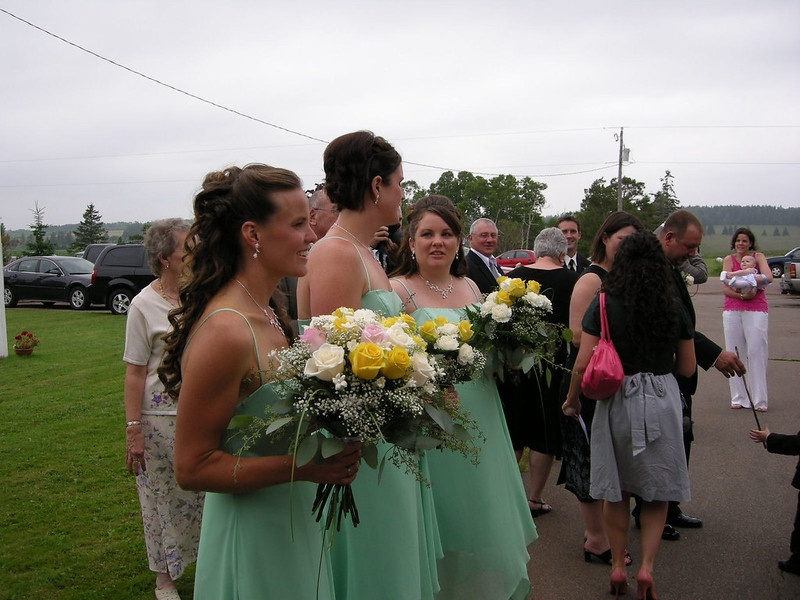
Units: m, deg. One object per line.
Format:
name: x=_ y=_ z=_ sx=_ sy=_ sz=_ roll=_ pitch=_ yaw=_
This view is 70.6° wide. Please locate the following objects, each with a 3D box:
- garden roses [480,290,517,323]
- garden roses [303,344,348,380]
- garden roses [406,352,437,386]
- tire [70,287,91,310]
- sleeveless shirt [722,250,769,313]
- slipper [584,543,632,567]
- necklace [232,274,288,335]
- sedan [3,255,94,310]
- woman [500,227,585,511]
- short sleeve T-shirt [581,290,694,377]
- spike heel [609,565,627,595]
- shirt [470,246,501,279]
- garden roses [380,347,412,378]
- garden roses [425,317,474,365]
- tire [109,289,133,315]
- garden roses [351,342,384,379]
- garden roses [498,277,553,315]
garden roses: x=0.655 y=0.045 z=3.812 sx=0.197 sy=0.213 sz=0.118 roll=3 pitch=-22 yaw=30
garden roses: x=-0.322 y=0.274 z=2.428 sx=0.166 sy=0.149 sz=0.109 roll=0 pitch=8 yaw=-5
garden roses: x=0.105 y=0.320 z=2.569 sx=0.103 sy=0.138 sz=0.145 roll=1 pitch=8 yaw=1
tire: x=-11.050 y=-0.091 z=19.580 sx=0.631 sy=0.694 sz=0.239 roll=-10 pitch=-6 yaw=21
sleeveless shirt: x=5.200 y=-0.263 z=8.553 sx=0.624 sy=0.928 sz=0.510 roll=0 pitch=-1 yaw=8
slipper: x=1.715 y=2.137 z=4.698 sx=0.374 sy=0.152 sz=0.169 roll=-3 pitch=2 yaw=18
necklace: x=-0.633 y=0.051 z=2.647 sx=0.026 sy=0.357 sz=0.105 roll=-27 pitch=21 yaw=24
sedan: x=-12.401 y=-0.682 z=20.695 sx=3.928 sy=1.541 sz=1.862 roll=-3 pitch=-1 yaw=19
woman: x=1.387 y=0.817 z=5.463 sx=0.878 sy=2.976 sz=0.921 roll=0 pitch=20 yaw=7
short sleeve T-shirt: x=1.822 y=0.227 z=4.313 sx=0.817 sy=0.707 sz=0.386 roll=-2 pitch=5 yaw=-2
spike heel: x=1.633 y=2.121 z=4.241 sx=0.086 sy=0.141 sz=0.267 roll=-2 pitch=8 yaw=13
shirt: x=1.032 y=-0.447 z=6.876 sx=0.288 sy=0.360 sz=0.505 roll=-7 pitch=-1 yaw=7
garden roses: x=-0.016 y=0.285 z=2.475 sx=0.144 sy=0.145 sz=0.080 roll=-7 pitch=11 yaw=-43
garden roses: x=0.259 y=0.269 z=3.143 sx=0.251 sy=0.263 sz=0.186 roll=8 pitch=-45 yaw=-35
tire: x=-8.239 y=0.046 z=16.719 sx=0.554 sy=0.580 sz=0.187 roll=32 pitch=-4 yaw=9
garden roses: x=-0.135 y=0.259 z=2.483 sx=0.132 sy=0.146 sz=0.140 roll=-9 pitch=-31 yaw=-14
garden roses: x=0.871 y=-0.049 z=3.953 sx=0.268 sy=0.243 sz=0.278 roll=26 pitch=3 yaw=8
